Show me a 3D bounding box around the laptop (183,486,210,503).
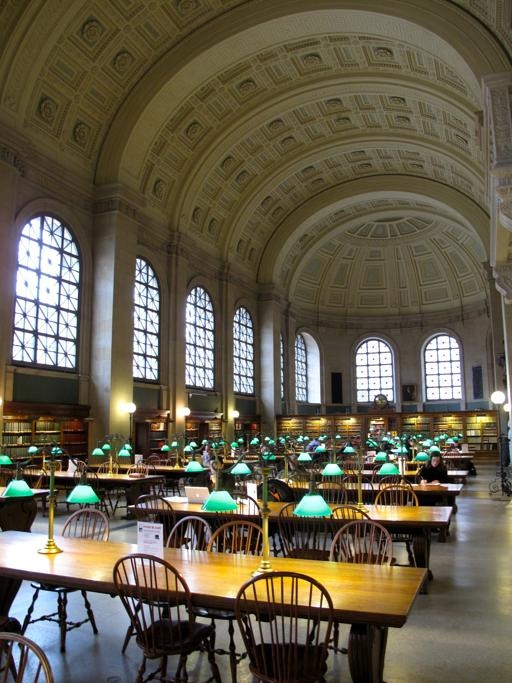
[{"bbox_3d":[-0.633,1.622,5.255,0.266,0.197,0.210,1,1,19],"label":"laptop"}]
